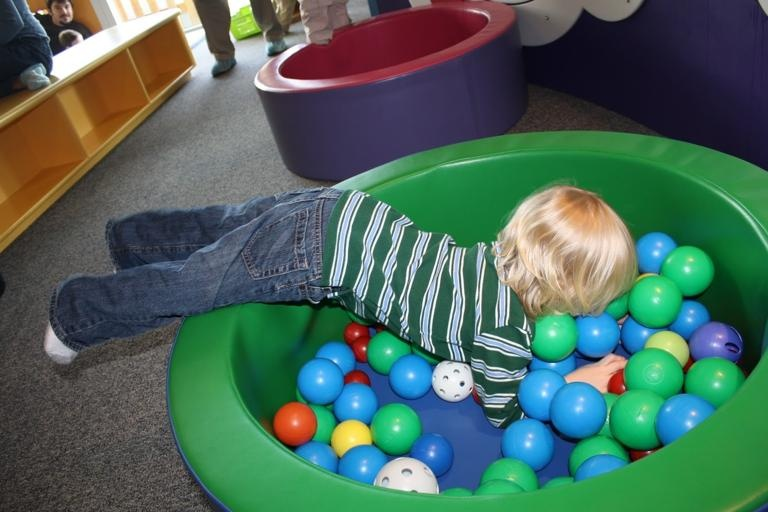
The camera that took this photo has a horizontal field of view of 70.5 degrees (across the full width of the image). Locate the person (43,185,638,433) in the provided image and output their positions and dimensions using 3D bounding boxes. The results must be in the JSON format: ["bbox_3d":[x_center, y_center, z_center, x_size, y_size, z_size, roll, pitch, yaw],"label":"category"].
[{"bbox_3d":[-0.074,0.125,1.784,1.785,0.704,0.632,5,13,-3],"label":"person"}]

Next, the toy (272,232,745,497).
[{"bbox_3d":[0.383,0.362,1.687,1.413,0.441,0.797,-13,47,-9],"label":"toy"}]

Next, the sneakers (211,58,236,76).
[{"bbox_3d":[-1.321,-1.532,4.451,0.096,0.113,0.268,10,39,19],"label":"sneakers"}]
